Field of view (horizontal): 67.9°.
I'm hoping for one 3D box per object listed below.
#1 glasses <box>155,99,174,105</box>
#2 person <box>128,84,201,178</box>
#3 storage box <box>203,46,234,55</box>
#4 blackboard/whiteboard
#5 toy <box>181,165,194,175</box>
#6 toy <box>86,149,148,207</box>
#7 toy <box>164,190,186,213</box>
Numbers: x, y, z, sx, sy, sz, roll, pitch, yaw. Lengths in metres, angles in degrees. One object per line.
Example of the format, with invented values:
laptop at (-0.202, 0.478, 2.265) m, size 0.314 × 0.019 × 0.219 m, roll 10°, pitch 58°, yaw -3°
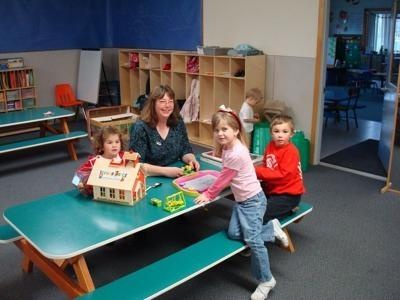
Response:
glasses at (-0.354, -0.484, 3.019) m, size 0.176 × 0.060 × 0.051 m, roll -7°, pitch 18°, yaw -11°
person at (-0.376, -0.194, 3.146) m, size 0.752 × 0.899 × 0.711 m, roll -12°, pitch 20°, yaw -35°
storage box at (0.354, -1.948, 5.898) m, size 0.568 × 0.181 × 0.351 m, roll -4°, pitch 18°, yaw -3°
blackboard/whiteboard at (-3.010, -1.986, 7.970) m, size 1.294 × 1.900 × 0.137 m, roll 13°, pitch 10°, yaw 42°
toy at (-0.126, 0.210, 3.021) m, size 0.093 × 0.033 × 0.071 m, roll 13°, pitch 22°, yaw 35°
toy at (-0.642, 0.198, 2.579) m, size 0.448 × 0.460 × 0.350 m, roll 7°, pitch 16°, yaw 19°
toy at (-0.206, 0.376, 2.396) m, size 0.102 × 0.140 × 0.209 m, roll 7°, pitch 16°, yaw 31°
